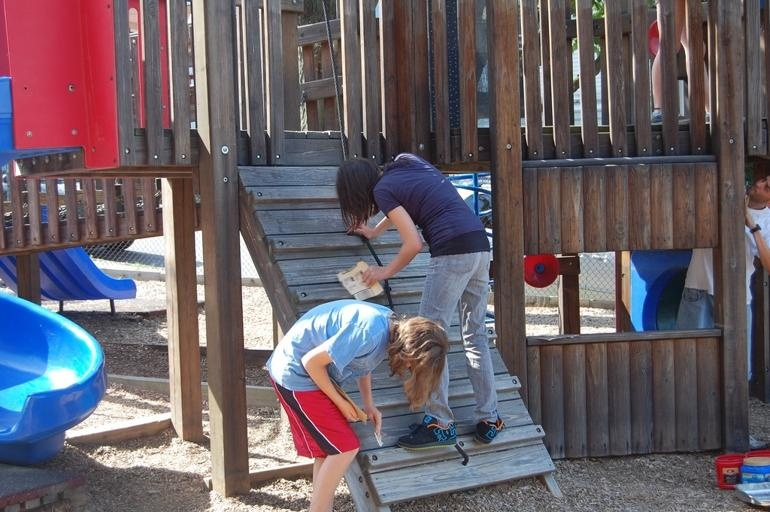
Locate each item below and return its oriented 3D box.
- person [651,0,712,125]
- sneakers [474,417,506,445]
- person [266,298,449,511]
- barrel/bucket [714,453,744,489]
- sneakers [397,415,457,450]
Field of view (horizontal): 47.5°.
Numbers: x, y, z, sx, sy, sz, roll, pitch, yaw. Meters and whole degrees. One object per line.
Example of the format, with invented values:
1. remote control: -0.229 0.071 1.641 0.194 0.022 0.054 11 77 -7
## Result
1. person: 2.829 -1.901 8.431 0.522 1.207 1.665 -1 9 18
2. sneakers: 0.808 1.341 6.844 0.102 0.142 0.283 8 16 27
3. person: -0.212 1.050 6.154 1.178 1.460 0.437 -4 8 -8
4. barrel/bucket: 2.879 1.737 7.218 0.234 0.270 0.231 0 1 0
5. sneakers: 0.333 1.359 6.790 0.487 0.268 0.196 0 -1 -10
